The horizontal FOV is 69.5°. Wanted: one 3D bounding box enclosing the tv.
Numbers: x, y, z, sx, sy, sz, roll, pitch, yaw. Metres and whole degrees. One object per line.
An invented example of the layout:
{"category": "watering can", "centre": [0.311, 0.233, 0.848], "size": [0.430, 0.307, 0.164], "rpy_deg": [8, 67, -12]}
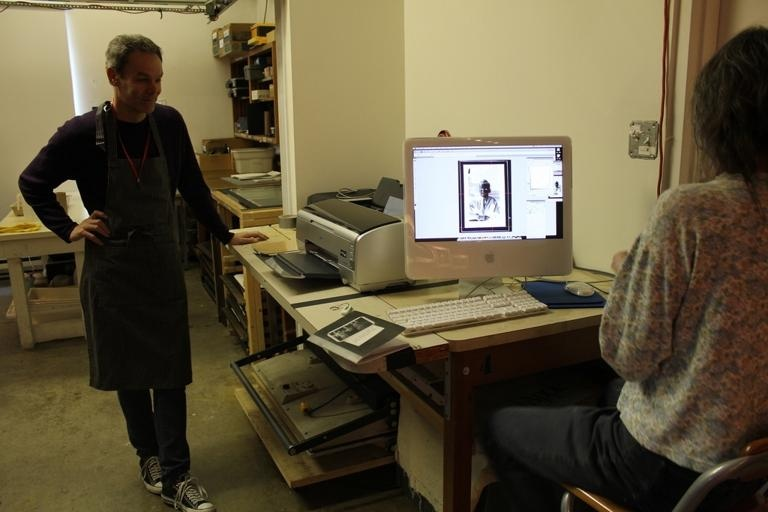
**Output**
{"category": "tv", "centre": [0.421, -0.224, 2.258], "size": [0.550, 0.467, 0.043], "rpy_deg": [-1, 3, 0]}

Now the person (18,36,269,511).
{"category": "person", "centre": [-1.178, 0.110, 2.616], "size": [0.740, 2.153, 0.533], "rpy_deg": [-1, 13, 4]}

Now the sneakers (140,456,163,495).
{"category": "sneakers", "centre": [-1.168, 1.087, 2.786], "size": [0.095, 0.101, 0.232], "rpy_deg": [-5, 8, -27]}

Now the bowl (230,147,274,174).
{"category": "bowl", "centre": [-1.215, -0.884, 5.182], "size": [0.333, 0.177, 0.243], "rpy_deg": [-2, 10, -17]}

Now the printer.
{"category": "printer", "centre": [-0.145, -0.080, 2.522], "size": [0.525, 0.342, 0.521], "rpy_deg": [-10, 19, -28]}

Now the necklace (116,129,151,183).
{"category": "necklace", "centre": [-1.080, -0.432, 2.414], "size": [0.106, 0.203, 0.031], "rpy_deg": [-18, 38, -40]}

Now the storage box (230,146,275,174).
{"category": "storage box", "centre": [-1.212, -0.895, 5.174], "size": [0.340, 0.164, 0.246], "rpy_deg": [-2, 11, -19]}

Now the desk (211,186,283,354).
{"category": "desk", "centre": [-0.956, 0.076, 4.154], "size": [0.469, 0.957, 1.144], "rpy_deg": [-7, 13, -24]}

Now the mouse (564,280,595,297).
{"category": "mouse", "centre": [0.808, 0.124, 2.304], "size": [0.065, 0.019, 0.080], "rpy_deg": [-5, 17, -14]}
